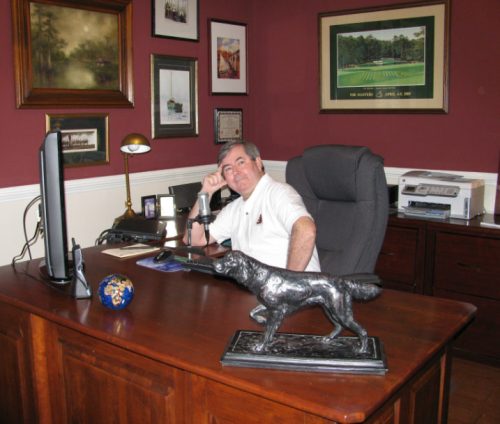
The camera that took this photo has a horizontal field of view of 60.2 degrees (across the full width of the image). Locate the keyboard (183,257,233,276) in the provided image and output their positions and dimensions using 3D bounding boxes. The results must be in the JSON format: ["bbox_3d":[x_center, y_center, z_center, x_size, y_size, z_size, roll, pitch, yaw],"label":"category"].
[{"bbox_3d":[-0.180,0.232,1.790,0.201,0.059,0.114,10,13,31],"label":"keyboard"}]

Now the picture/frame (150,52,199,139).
[{"bbox_3d":[-0.679,-1.032,3.755,0.060,0.959,0.673,7,10,37],"label":"picture/frame"}]

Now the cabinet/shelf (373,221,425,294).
[{"bbox_3d":[1.074,0.309,3.057,0.431,0.524,0.256,9,10,30],"label":"cabinet/shelf"}]

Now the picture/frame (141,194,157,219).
[{"bbox_3d":[-0.752,-0.030,3.216,0.022,0.243,0.161,-1,0,35],"label":"picture/frame"}]

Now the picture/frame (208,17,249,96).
[{"bbox_3d":[-0.230,-1.512,4.150,0.055,0.893,0.678,6,11,36],"label":"picture/frame"}]

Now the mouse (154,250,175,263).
[{"bbox_3d":[-0.444,0.225,2.177,0.053,0.030,0.078,11,21,28],"label":"mouse"}]

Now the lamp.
[{"bbox_3d":[-0.868,-0.291,3.286,0.210,0.614,0.538,-3,10,-16],"label":"lamp"}]

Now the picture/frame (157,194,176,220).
[{"bbox_3d":[-0.619,-0.031,3.189,0.158,0.250,0.028,-1,1,1],"label":"picture/frame"}]

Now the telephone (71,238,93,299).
[{"bbox_3d":[-0.695,0.236,1.780,0.071,0.246,0.052,-3,8,-23],"label":"telephone"}]

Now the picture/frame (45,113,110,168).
[{"bbox_3d":[-1.168,-0.492,2.904,0.032,0.441,0.471,13,19,42],"label":"picture/frame"}]
